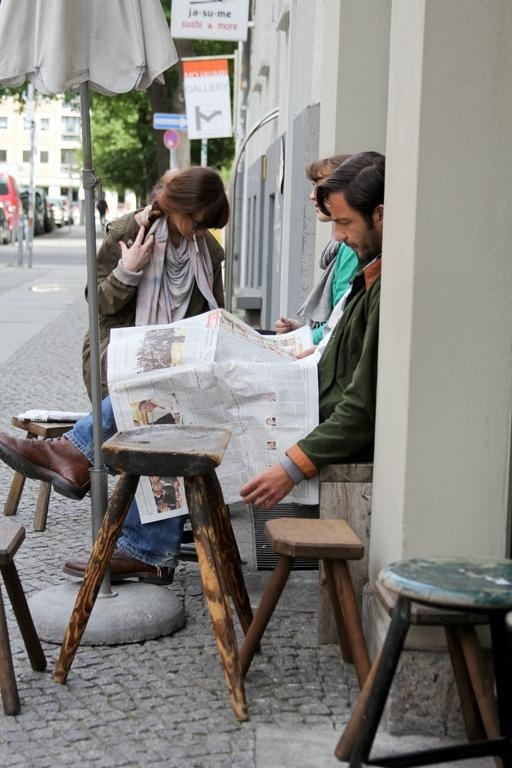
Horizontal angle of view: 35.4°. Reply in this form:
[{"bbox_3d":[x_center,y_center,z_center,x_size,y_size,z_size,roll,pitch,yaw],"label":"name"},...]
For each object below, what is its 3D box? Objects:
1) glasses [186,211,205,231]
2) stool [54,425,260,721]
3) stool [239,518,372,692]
[{"bbox_3d":[-0.272,-0.746,3.698,0.022,0.074,0.066,5,4,40],"label":"glasses"},{"bbox_3d":[-0.287,0.501,2.301,0.549,0.725,0.507,2,2,-2],"label":"stool"},{"bbox_3d":[0.158,0.612,2.396,0.424,0.509,0.371,2,8,-1],"label":"stool"}]
